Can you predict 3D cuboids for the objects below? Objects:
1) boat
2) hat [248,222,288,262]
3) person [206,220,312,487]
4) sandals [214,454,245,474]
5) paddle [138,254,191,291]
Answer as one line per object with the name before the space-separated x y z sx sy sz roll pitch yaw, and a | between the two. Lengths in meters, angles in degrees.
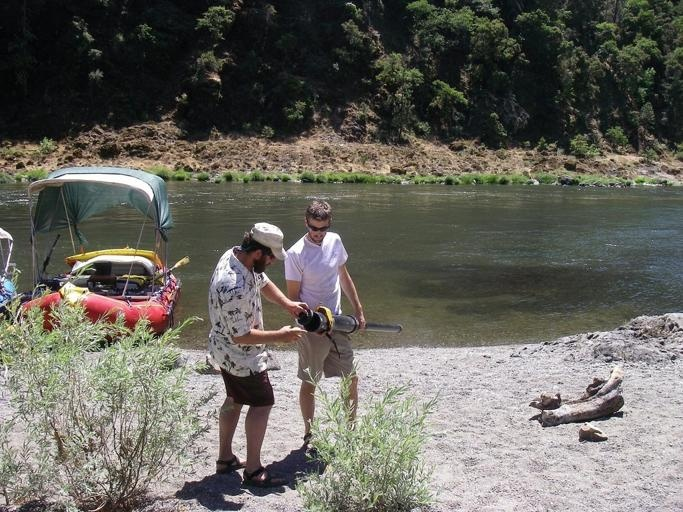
boat | -5.112 -0.138 18.104 2.813 3.060 4.969 1 19 -4
hat | -1.074 -0.197 13.427 0.600 0.569 0.335 -1 6 -22
person | -1.360 1.502 13.464 1.231 3.968 0.571 0 6 -8
sandals | -1.710 3.221 13.706 0.200 0.153 0.411 8 11 39
paddle | -3.945 0.419 20.026 1.198 0.195 0.211 -35 36 -20
